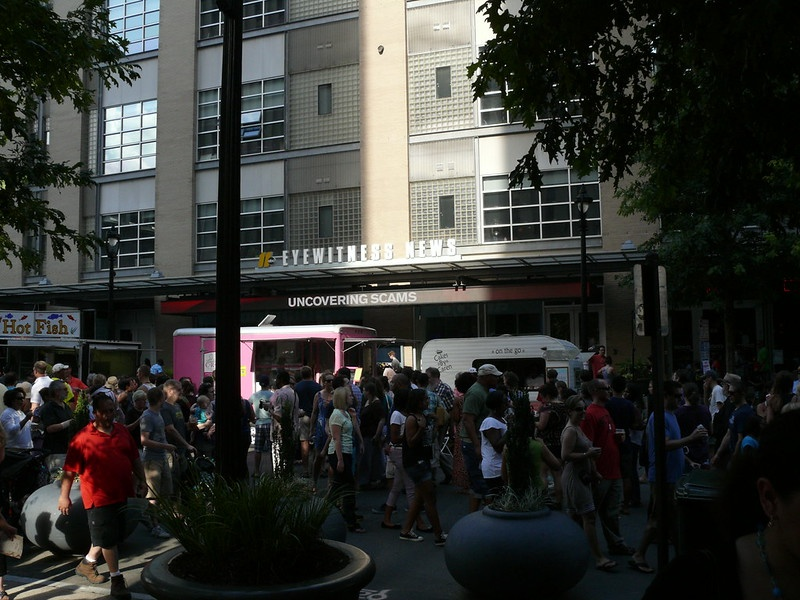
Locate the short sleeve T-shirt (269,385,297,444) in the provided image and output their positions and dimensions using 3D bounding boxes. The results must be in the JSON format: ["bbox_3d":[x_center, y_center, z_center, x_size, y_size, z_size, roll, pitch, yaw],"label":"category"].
[{"bbox_3d":[-2.120,2.104,17.699,0.414,0.955,0.752,9,6,10],"label":"short sleeve T-shirt"}]

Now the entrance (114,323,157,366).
[{"bbox_3d":[-9.196,1.537,32.984,1.263,1.579,0.109,-19,-34,0],"label":"entrance"}]

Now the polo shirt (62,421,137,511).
[{"bbox_3d":[-3.770,2.122,11.780,0.624,1.213,1.130,-11,-12,31],"label":"polo shirt"}]

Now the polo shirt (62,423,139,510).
[{"bbox_3d":[-3.687,2.068,11.778,0.967,1.077,0.578,-5,-1,-43],"label":"polo shirt"}]

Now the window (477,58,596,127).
[{"bbox_3d":[4.778,-6.580,30.836,3.928,0.155,3.031,-6,35,5],"label":"window"}]

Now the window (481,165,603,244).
[{"bbox_3d":[4.483,-2.806,28.219,2.868,1.960,0.121,-2,-4,24],"label":"window"}]

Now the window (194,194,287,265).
[{"bbox_3d":[-6.008,-2.610,35.264,3.744,2.485,0.121,-9,17,-36],"label":"window"}]

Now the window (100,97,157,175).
[{"bbox_3d":[-11.029,-6.767,38.442,3.051,3.445,0.128,0,-7,33],"label":"window"}]

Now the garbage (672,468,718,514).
[{"bbox_3d":[3.140,1.958,9.715,0.511,0.152,0.562,-1,14,-16],"label":"garbage"}]

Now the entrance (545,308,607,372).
[{"bbox_3d":[5.176,1.135,26.831,1.443,1.878,0.134,-1,-8,39],"label":"entrance"}]

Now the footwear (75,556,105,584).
[{"bbox_3d":[-4.002,3.503,12.157,0.268,0.310,0.548,1,-6,-42],"label":"footwear"}]

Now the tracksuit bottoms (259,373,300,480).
[{"bbox_3d":[-1.954,2.129,15.364,0.547,2.004,0.665,7,8,18],"label":"tracksuit bottoms"}]

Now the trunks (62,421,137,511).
[{"bbox_3d":[-3.696,2.069,11.773,0.960,1.073,0.577,-4,-3,-45],"label":"trunks"}]

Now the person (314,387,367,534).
[{"bbox_3d":[-0.829,2.469,14.806,0.635,2.168,0.616,2,-2,-3],"label":"person"}]

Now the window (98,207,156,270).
[{"bbox_3d":[-10.375,-2.315,36.025,2.551,3.124,0.121,-1,-4,26],"label":"window"}]

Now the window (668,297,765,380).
[{"bbox_3d":[9.592,1.135,27.831,2.027,2.222,1.153,-1,-13,14],"label":"window"}]
